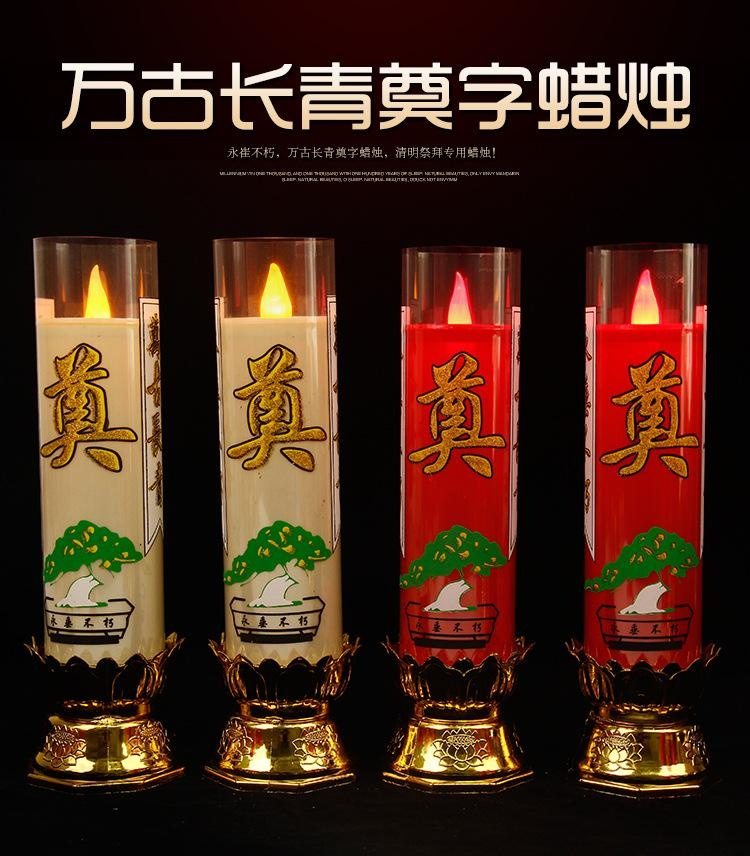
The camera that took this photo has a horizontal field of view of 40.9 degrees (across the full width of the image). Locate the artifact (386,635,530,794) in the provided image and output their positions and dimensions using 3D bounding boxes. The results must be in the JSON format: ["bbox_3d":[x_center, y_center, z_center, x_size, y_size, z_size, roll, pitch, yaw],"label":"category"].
[{"bbox_3d":[0.096,0.333,1.198,0.198,0.153,0.179,7,-9,-31],"label":"artifact"}]

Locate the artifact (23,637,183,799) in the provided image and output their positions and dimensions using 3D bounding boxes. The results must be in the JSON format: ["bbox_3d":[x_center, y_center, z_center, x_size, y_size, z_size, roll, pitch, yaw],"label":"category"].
[{"bbox_3d":[-0.333,0.342,1.200,0.168,0.139,0.170,-14,-17,40],"label":"artifact"}]

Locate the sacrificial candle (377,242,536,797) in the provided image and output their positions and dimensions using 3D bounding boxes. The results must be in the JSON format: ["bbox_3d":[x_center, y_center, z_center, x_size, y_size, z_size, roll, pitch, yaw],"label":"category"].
[{"bbox_3d":[0.089,0.100,1.138,0.166,0.602,0.083,-1,3,6],"label":"sacrificial candle"}]

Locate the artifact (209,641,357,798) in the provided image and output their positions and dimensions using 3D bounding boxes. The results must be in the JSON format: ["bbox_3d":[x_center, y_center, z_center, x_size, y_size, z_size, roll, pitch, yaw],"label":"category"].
[{"bbox_3d":[-0.107,0.342,1.187,0.177,0.144,0.164,9,-15,-11],"label":"artifact"}]

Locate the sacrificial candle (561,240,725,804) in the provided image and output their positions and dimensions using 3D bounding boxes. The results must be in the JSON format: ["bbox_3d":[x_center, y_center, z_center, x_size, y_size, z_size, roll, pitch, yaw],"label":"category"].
[{"bbox_3d":[0.305,0.057,1.139,0.162,0.522,0.088,0,3,10],"label":"sacrificial candle"}]

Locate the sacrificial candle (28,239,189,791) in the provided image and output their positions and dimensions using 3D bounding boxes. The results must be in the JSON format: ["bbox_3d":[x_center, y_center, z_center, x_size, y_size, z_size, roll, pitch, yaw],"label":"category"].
[{"bbox_3d":[-0.318,0.094,1.151,0.174,0.619,0.084,-2,3,-15],"label":"sacrificial candle"}]

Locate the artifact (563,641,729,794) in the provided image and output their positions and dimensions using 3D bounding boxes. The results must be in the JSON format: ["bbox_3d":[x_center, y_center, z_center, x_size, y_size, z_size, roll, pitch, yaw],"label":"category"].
[{"bbox_3d":[0.323,0.341,1.196,0.195,0.157,0.174,4,-11,-26],"label":"artifact"}]

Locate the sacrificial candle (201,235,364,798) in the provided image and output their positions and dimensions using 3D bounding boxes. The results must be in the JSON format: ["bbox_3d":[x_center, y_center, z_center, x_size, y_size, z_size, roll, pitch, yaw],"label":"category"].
[{"bbox_3d":[-0.113,0.095,1.137,0.167,0.613,0.087,-1,3,-8],"label":"sacrificial candle"}]
